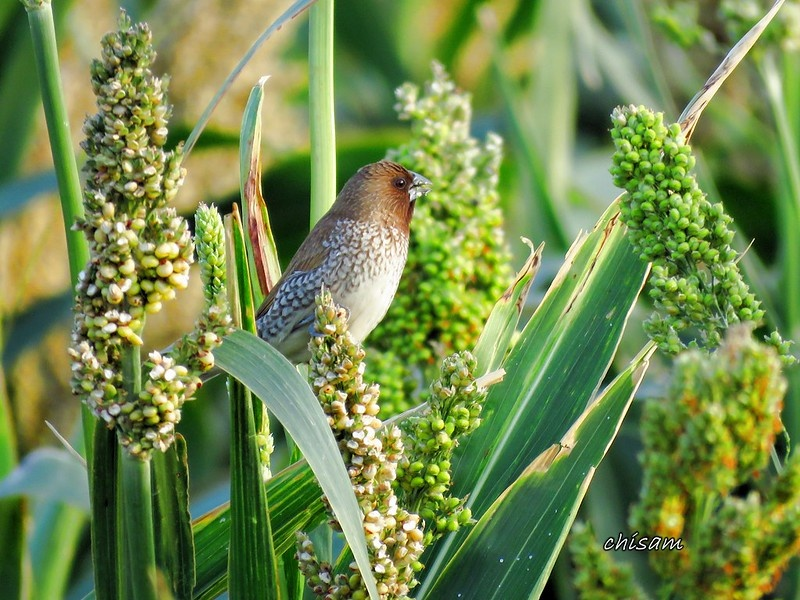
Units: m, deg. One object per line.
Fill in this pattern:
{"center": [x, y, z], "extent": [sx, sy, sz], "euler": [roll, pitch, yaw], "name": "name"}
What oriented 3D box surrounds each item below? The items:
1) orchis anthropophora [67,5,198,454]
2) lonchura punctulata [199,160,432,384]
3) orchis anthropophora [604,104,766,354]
{"center": [-0.343, -0.082, 1.678], "extent": [0.166, 0.569, 0.107], "euler": [2, 11, 0], "name": "orchis anthropophora"}
{"center": [-0.107, -0.110, 2.278], "extent": [0.271, 0.472, 0.444], "euler": [-8, 18, -30], "name": "lonchura punctulata"}
{"center": [0.417, -0.154, 1.814], "extent": [0.104, 0.287, 0.121], "euler": [-32, 10, 33], "name": "orchis anthropophora"}
